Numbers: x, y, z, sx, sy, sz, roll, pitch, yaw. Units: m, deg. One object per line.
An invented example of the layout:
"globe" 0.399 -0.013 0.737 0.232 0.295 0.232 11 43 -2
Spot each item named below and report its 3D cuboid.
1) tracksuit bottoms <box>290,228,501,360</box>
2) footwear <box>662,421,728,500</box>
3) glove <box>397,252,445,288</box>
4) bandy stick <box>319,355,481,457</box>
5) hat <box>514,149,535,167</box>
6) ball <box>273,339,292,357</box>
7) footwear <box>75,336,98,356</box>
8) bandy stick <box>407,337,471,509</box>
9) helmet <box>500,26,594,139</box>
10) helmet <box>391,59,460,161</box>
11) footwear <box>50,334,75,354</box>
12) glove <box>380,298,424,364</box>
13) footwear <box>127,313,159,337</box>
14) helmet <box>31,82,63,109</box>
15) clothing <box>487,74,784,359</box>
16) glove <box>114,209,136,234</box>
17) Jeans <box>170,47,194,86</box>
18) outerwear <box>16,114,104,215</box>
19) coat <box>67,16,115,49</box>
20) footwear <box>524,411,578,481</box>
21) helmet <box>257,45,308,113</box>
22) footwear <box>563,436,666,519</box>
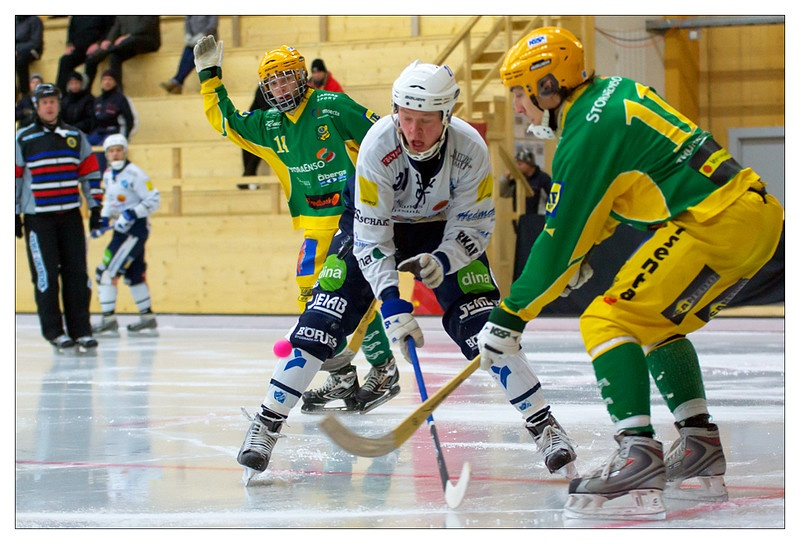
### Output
"tracksuit bottoms" -0.034 0.153 6.538 1.177 0.936 0.435 9 -28 11
"footwear" 1.614 1.064 5.873 0.175 0.431 0.492 2 -11 -36
"glove" 0.112 -0.037 6.081 0.249 0.107 0.154 -12 21 39
"bandy stick" -0.014 0.875 6.793 0.225 0.242 1.808 13 21 39
"hat" 1.585 -1.405 13.144 0.210 0.253 0.240 10 6 41
"ball" -0.713 0.476 6.395 0.125 0.128 0.115 6 28 -3
"footwear" -2.895 0.681 9.706 0.301 0.100 0.136 -8 -26 39
"bandy stick" 0.192 0.825 5.934 0.193 0.154 1.286 -34 29 16
"helmet" 0.871 -1.078 5.882 0.479 0.518 0.435 -24 8 -7
"helmet" 0.150 -0.908 5.996 0.368 0.572 0.224 -1 10 0
"footwear" -3.073 0.652 9.615 0.210 0.157 0.127 6 12 36
"glove" -0.008 0.314 6.037 0.220 0.371 0.140 -19 3 32
"footwear" -2.666 0.554 10.911 0.300 0.231 0.427 -4 9 -15
"helmet" -3.244 -1.635 9.635 0.214 0.200 0.226 -5 -15 -36
"clothing" 1.089 -0.280 5.869 1.614 1.458 1.578 4 10 23
"glove" -2.850 -0.516 10.954 0.275 0.182 0.112 -26 -37 25
"Jeans" -3.161 -2.962 15.322 0.340 0.511 0.994 -3 9 -12
"outerwear" -3.165 -0.959 9.765 0.801 0.820 0.503 -7 11 -30
"coat" -4.489 -3.439 15.321 0.479 0.418 0.257 20 10 5
"footwear" 0.863 0.972 5.927 0.184 0.189 0.421 -35 37 13
"helmet" -0.817 -1.382 7.535 0.341 0.399 0.432 -14 13 28
"footwear" 1.142 1.078 5.580 0.516 0.427 0.198 0 10 7
